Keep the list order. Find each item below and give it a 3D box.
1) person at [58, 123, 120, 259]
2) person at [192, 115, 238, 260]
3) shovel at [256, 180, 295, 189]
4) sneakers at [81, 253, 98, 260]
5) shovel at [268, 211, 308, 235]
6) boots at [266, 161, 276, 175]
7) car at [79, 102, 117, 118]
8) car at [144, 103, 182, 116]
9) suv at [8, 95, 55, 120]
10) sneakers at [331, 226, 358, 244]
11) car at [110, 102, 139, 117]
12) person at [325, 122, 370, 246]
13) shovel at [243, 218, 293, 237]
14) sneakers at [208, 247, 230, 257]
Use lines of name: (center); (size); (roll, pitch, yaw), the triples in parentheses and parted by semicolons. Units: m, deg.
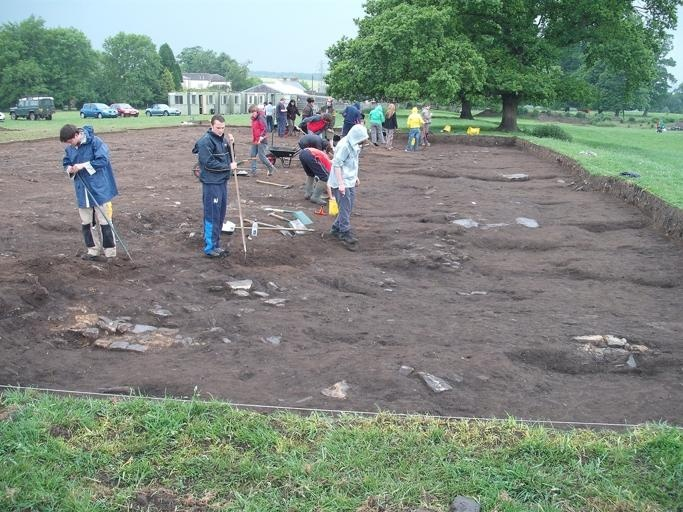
person: (-3.917, -0.995, 10.432); (0.743, 2.046, 0.620); (-3, 14, -17)
person: (-2.051, -1.120, 10.875); (0.576, 2.275, 0.450); (-1, 14, -11)
shovel: (-1.678, -1.748, 16.405); (0.829, 0.031, 0.344); (10, 4, 15)
sneakers: (-3.957, 0.010, 10.517); (0.280, 0.097, 0.095); (6, 8, -4)
shovel: (-0.971, -0.611, 12.827); (0.396, 0.135, 1.011); (5, 18, -18)
boots: (-1.923, -2.375, 18.131); (0.233, 0.423, 0.139); (9, 50, 0)
car: (-17.434, -10.303, 47.802); (2.597, 0.882, 1.552); (5, 14, 25)
car: (-14.667, -11.578, 53.059); (3.168, 0.806, 1.171); (3, 14, 16)
suv: (-21.122, -9.936, 44.897); (3.109, 1.212, 1.604); (7, 16, 16)
sneakers: (0.041, -0.383, 12.285); (0.641, 0.220, 0.222); (15, 24, 39)
car: (-16.830, -11.099, 51.014); (2.648, 0.960, 1.642); (12, 18, 41)
person: (0.083, -1.273, 12.094); (0.654, 2.176, 0.707); (1, 13, -1)
shovel: (-1.360, -0.539, 12.486); (0.920, 0.235, 1.093); (-1, 11, -11)
sneakers: (-2.027, -0.058, 11.001); (0.320, 0.105, 0.131); (-5, 25, 6)
